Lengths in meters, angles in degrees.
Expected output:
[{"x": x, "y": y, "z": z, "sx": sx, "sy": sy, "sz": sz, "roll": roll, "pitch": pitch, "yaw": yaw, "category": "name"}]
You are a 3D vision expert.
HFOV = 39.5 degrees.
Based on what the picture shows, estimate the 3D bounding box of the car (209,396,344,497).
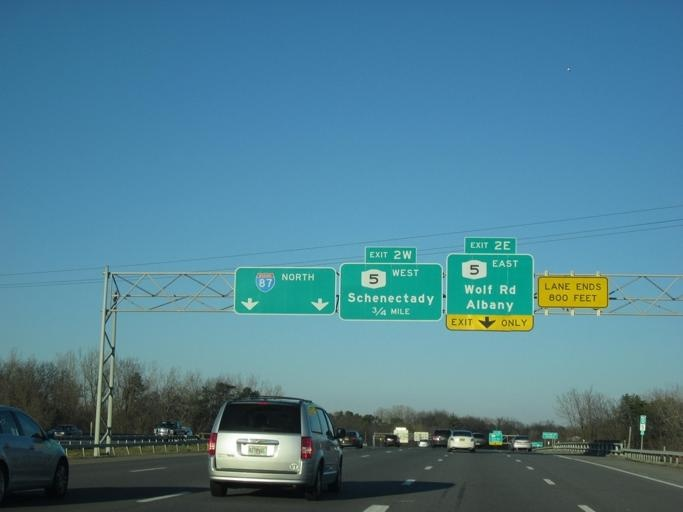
[{"x": -1.982, "y": 5.645, "z": 29.079, "sx": 4.162, "sy": 3.044, "sz": 2.921, "roll": 6, "pitch": -15, "yaw": -18, "category": "car"}]

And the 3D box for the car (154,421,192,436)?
[{"x": -14.436, "y": 14.345, "z": 80.275, "sx": 1.459, "sy": 1.088, "sz": 3.151, "roll": 1, "pitch": -4, "yaw": 5, "category": "car"}]
